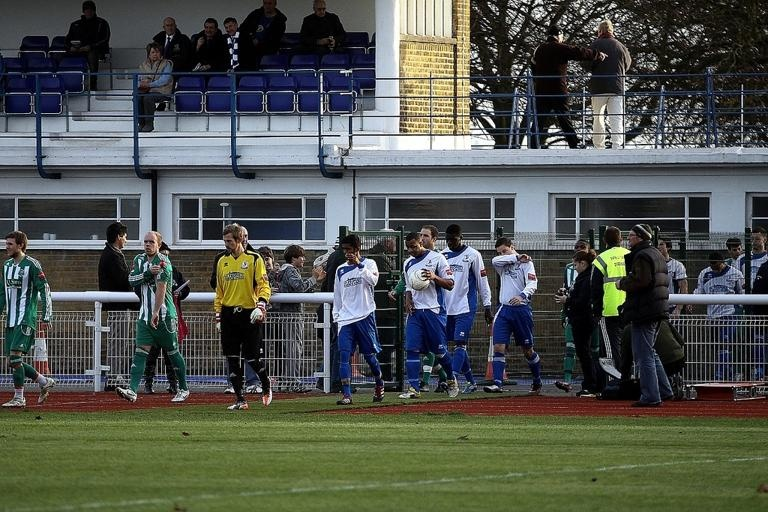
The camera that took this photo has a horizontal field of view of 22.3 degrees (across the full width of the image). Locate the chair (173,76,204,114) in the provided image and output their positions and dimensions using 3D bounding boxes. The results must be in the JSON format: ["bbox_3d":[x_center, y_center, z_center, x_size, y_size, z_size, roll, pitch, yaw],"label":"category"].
[{"bbox_3d":[-4.228,-3.615,43.299,0.675,0.865,0.660,-1,-2,-5],"label":"chair"}]

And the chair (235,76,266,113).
[{"bbox_3d":[-2.865,-3.619,43.253,0.635,0.895,0.771,-1,-2,-4],"label":"chair"}]

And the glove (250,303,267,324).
[{"bbox_3d":[-2.148,0.968,34.194,0.241,0.315,0.144,10,2,-2],"label":"glove"}]

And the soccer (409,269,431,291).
[{"bbox_3d":[0.694,0.400,35.629,0.302,0.294,0.376,0,-3,-11],"label":"soccer"}]

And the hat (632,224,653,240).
[{"bbox_3d":[4.601,-0.464,34.661,0.340,0.268,0.457,-1,-2,7],"label":"hat"}]

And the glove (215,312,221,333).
[{"bbox_3d":[-2.857,1.126,34.729,0.122,0.389,0.156,-2,-7,-7],"label":"glove"}]

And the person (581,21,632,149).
[{"bbox_3d":[4.785,-3.596,41.187,0.957,2.689,0.810,1,0,4],"label":"person"}]

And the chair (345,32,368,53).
[{"bbox_3d":[-0.546,-4.969,45.227,0.575,0.571,0.895,-1,-2,-1],"label":"chair"}]

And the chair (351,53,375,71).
[{"bbox_3d":[-0.407,-4.423,44.163,0.423,0.396,0.387,0,-1,1],"label":"chair"}]

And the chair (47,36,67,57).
[{"bbox_3d":[-7.735,-5.064,46.751,0.409,0.669,1.509,-1,-2,-9],"label":"chair"}]

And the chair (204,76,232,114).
[{"bbox_3d":[-3.606,-3.606,43.229,0.537,0.855,0.591,-1,-2,-6],"label":"chair"}]

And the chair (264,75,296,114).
[{"bbox_3d":[-2.179,-3.611,43.072,0.718,0.963,0.752,1,1,1],"label":"chair"}]

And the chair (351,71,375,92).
[{"bbox_3d":[-0.373,-3.948,43.684,0.532,0.530,0.429,0,5,-6],"label":"chair"}]

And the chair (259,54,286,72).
[{"bbox_3d":[-2.423,-4.419,44.333,0.509,0.461,0.481,0,-1,4],"label":"chair"}]

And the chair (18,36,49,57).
[{"bbox_3d":[-8.300,-5.081,46.915,0.702,0.612,1.069,-1,-2,-11],"label":"chair"}]

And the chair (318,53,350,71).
[{"bbox_3d":[-1.046,-4.408,44.082,0.499,0.422,0.469,1,-2,3],"label":"chair"}]

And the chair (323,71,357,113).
[{"bbox_3d":[-1.054,-3.609,43.023,0.733,0.968,0.977,0,-4,3],"label":"chair"}]
